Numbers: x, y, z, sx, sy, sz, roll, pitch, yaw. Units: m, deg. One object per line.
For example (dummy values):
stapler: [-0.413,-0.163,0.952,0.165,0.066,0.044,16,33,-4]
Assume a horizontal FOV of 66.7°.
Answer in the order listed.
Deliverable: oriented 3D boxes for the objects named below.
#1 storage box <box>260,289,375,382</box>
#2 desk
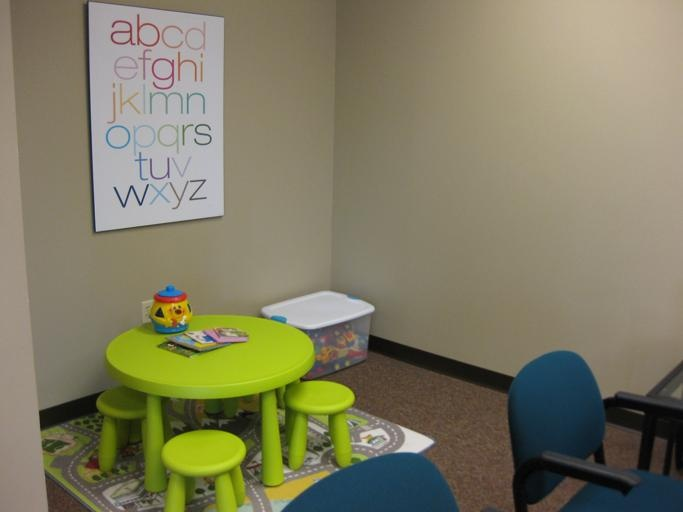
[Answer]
storage box: [-0.116,0.457,3.390,0.600,0.372,0.472,-10,18,-43]
desk: [-0.577,0.885,2.429,0.788,0.488,0.830,3,-33,-20]
